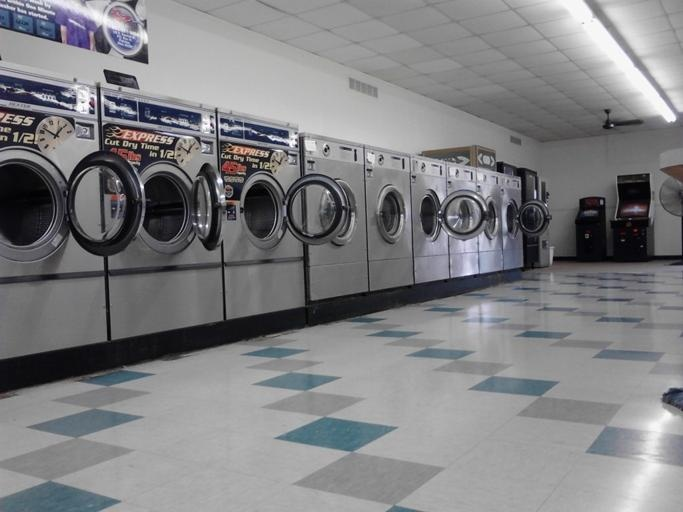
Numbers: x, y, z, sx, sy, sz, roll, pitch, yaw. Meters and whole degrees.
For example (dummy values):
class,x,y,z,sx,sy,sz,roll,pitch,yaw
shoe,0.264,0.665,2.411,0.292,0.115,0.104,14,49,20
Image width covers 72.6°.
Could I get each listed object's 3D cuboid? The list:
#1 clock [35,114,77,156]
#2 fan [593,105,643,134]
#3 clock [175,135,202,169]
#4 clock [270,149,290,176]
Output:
class,x,y,z,sx,sy,sz,roll,pitch,yaw
clock,-1.917,-0.806,3.086,0.021,0.285,0.273,-1,8,37
fan,7.366,-3.539,12.248,0.968,0.411,0.986,-6,1,-11
clock,-1.288,-0.863,3.858,0.018,0.267,0.269,-1,12,32
clock,-0.629,-0.931,4.637,0.037,0.262,0.261,0,8,34
